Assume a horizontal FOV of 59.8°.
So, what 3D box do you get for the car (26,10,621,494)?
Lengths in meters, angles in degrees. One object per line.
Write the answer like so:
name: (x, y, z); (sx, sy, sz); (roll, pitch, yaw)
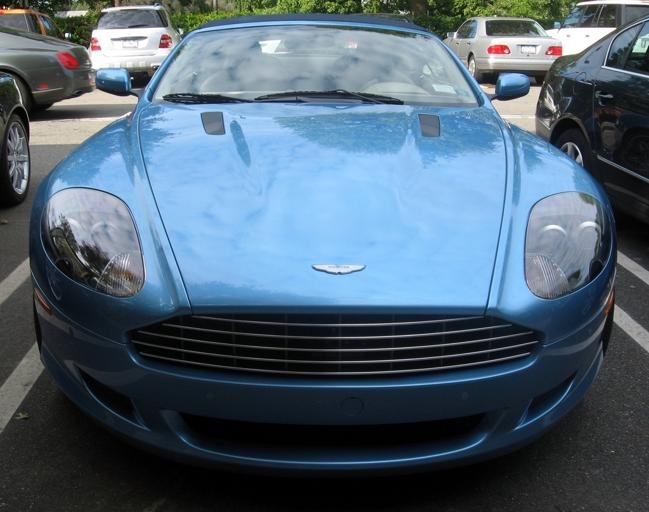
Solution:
car: (-0.067, -0.050, 2.907); (1.728, 0.923, 3.125); (0, 33, -3)
